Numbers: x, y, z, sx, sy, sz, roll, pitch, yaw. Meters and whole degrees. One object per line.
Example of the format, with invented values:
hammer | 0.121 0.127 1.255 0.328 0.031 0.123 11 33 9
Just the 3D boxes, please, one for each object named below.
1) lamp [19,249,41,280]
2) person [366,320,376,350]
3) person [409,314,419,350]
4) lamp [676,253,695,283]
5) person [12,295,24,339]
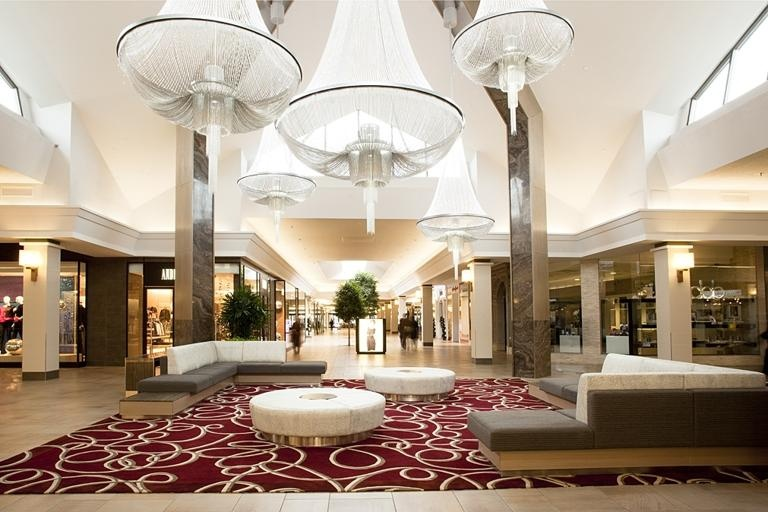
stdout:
lamp | -9.403 0.235 13.207 0.449 0.854 0.297 1 -2 -25
person | -0.427 3.081 19.487 0.346 1.188 0.288 1 -2 -7
person | 1.400 3.341 22.146 0.406 1.451 1.210 0 -2 3
lamp | 8.138 0.286 13.293 0.472 0.802 0.241 1 -2 -21
person | -12.014 1.980 16.271 0.236 1.337 0.483 2 -3 -33
